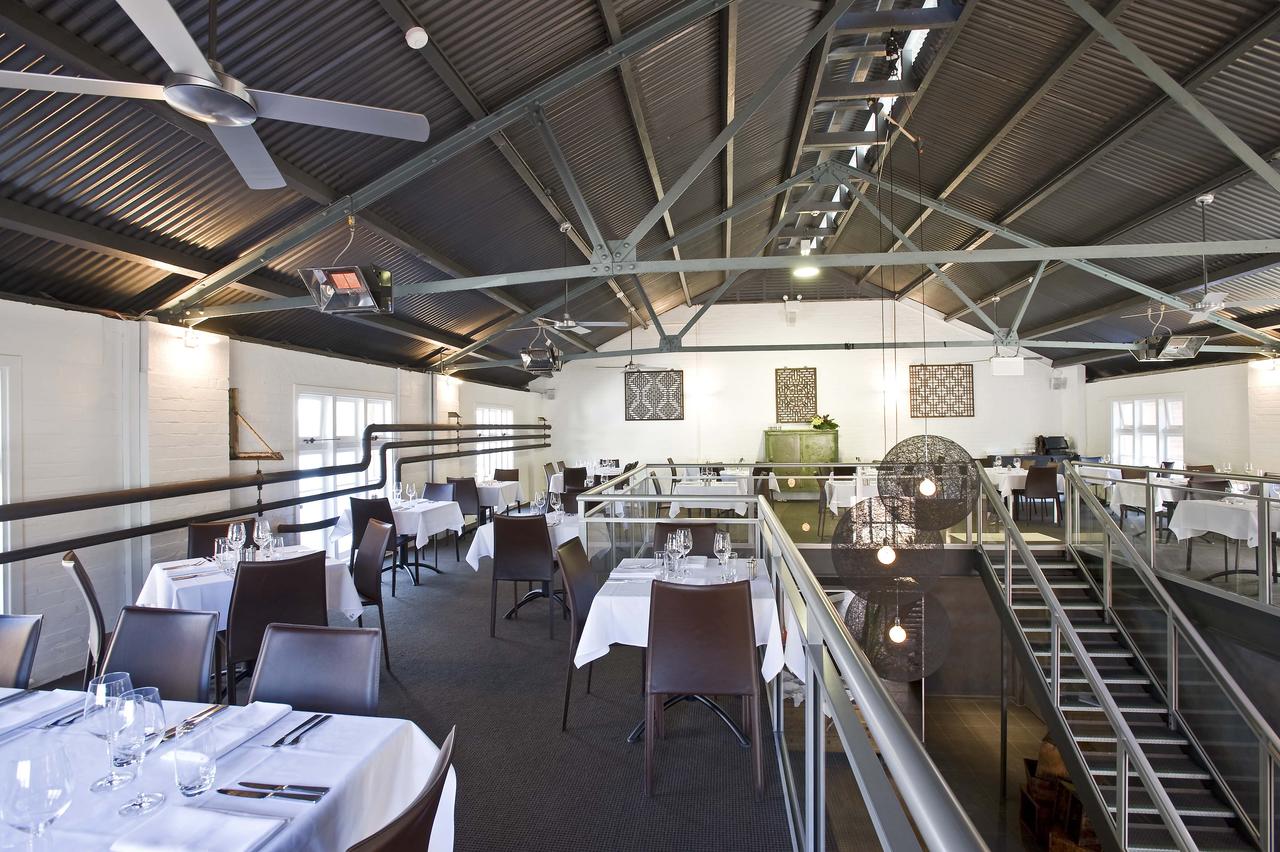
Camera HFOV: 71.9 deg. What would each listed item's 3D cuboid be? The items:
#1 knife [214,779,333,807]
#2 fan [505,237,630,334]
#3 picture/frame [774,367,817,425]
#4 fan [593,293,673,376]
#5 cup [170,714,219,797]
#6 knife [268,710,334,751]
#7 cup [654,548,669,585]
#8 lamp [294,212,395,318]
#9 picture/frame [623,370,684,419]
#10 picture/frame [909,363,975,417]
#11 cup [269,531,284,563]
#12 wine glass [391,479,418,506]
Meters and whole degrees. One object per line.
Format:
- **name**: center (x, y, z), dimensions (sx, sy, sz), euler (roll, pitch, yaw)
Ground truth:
- **knife**: center (-1.941, 1.935, 4.644), dimensions (0.644, 0.053, 0.090), euler (3, 42, -5)
- **fan**: center (-0.877, -1.463, 12.174), dimensions (1.241, 0.921, 1.208), euler (23, -42, -29)
- **picture/frame**: center (2.852, -0.544, 16.049), dimensions (1.071, 1.246, 0.057), euler (1, -2, 0)
- **fan**: center (-0.130, -1.562, 15.023), dimensions (1.347, 1.408, 1.178), euler (0, -12, 3)
- **cup**: center (-2.291, 1.796, 4.740), dimensions (0.275, 0.300, 0.275), euler (-3, -8, 0)
- **knife**: center (-1.896, 1.690, 4.928), dimensions (0.118, 0.053, 0.231), euler (-2, 17, 24)
- **cup**: center (0.180, 1.091, 6.871), dimensions (0.164, 0.245, 0.161), euler (0, -6, 0)
- **lamp**: center (-2.520, -1.210, 7.583), dimensions (0.721, 0.429, 0.394), euler (-1, -2, -9)
- **picture/frame**: center (0.297, -0.587, 16.312), dimensions (0.945, 0.788, 0.071), euler (0, -3, 1)
- **picture/frame**: center (5.443, -0.621, 15.817), dimensions (0.997, 0.835, 0.119), euler (1, -7, 3)
- **cup**: center (-3.058, 1.023, 7.418), dimensions (0.138, 0.221, 0.145), euler (-1, -4, 0)
- **wine glass**: center (-2.932, 0.823, 10.923), dimensions (0.318, 0.341, 0.311), euler (-1, -6, -6)
